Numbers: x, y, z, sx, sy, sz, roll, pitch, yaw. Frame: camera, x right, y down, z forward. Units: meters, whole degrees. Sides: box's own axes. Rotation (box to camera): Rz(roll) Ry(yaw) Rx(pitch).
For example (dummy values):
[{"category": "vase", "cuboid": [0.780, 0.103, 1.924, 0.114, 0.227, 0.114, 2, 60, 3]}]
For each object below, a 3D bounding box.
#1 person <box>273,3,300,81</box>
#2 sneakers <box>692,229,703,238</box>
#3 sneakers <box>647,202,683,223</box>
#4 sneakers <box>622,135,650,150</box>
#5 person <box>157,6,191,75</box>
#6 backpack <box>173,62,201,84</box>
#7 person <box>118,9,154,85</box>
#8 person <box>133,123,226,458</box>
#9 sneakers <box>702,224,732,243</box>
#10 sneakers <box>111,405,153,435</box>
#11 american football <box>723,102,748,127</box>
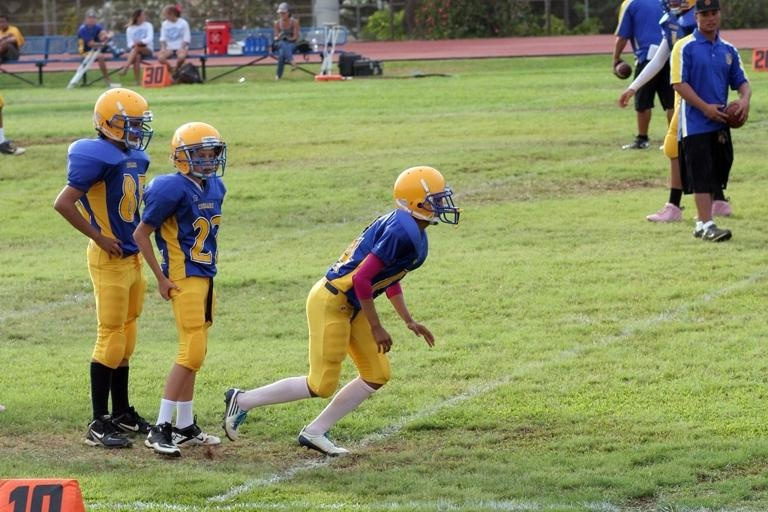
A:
[{"category": "person", "cuboid": [-2.023, -4.505, 32.440, 0.481, 1.585, 1.591, 1, 7, -5]}, {"category": "sneakers", "cuboid": [4.174, -0.291, 20.485, 0.126, 0.134, 0.319, 3, 0, -5]}, {"category": "sneakers", "cuboid": [3.880, -0.574, 21.156, 0.607, 0.232, 0.195, 1, 4, 6]}, {"category": "sneakers", "cuboid": [4.000, -1.764, 24.112, 0.527, 0.226, 0.169, 4, 13, 16]}, {"category": "person", "cuboid": [-4.349, -4.494, 32.162, 0.615, 1.404, 0.838, 0, 7, -8]}, {"category": "backpack", "cuboid": [-4.091, -3.846, 32.589, 0.521, 0.455, 0.517, -10, 14, -16]}, {"category": "person", "cuboid": [-5.162, -4.436, 32.547, 0.648, 1.569, 1.198, 0, 7, -10]}, {"category": "person", "cuboid": [-2.189, 0.366, 16.909, 0.988, 3.601, 0.661, -1, 7, -17]}, {"category": "sneakers", "cuboid": [4.362, -0.293, 20.272, 0.413, 0.189, 0.197, 0, 13, 34]}, {"category": "sneakers", "cuboid": [-2.811, 1.849, 17.243, 0.587, 0.241, 0.195, 9, 6, -7]}, {"category": "american football", "cuboid": [4.514, -1.831, 19.862, 0.295, 0.321, 0.190, 2, 7, 4]}]
